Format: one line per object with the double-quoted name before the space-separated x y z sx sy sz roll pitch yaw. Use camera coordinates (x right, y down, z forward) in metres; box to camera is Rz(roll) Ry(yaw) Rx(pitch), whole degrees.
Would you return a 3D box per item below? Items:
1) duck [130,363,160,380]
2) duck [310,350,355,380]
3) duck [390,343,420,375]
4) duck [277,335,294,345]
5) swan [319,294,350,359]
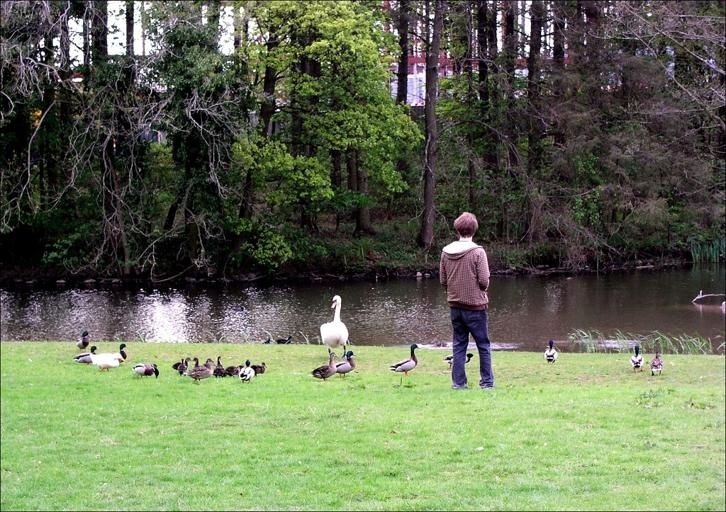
"duck" -7.806 4.100 41.855 0.858 0.541 0.447 22 12 -1
"duck" -1.061 3.918 42.168 1.404 1.179 0.813 -4 3 -8
"duck" 1.490 3.660 42.482 0.905 1.049 1.864 0 10 5
"duck" -3.263 3.529 48.900 0.754 0.542 0.267 4 26 -47
"swan" -1.101 2.790 44.873 0.979 2.569 0.827 -3 5 -19
